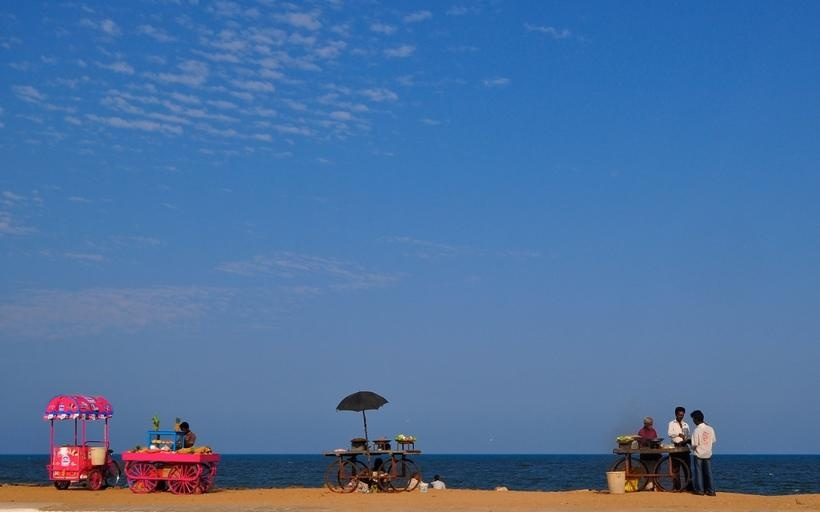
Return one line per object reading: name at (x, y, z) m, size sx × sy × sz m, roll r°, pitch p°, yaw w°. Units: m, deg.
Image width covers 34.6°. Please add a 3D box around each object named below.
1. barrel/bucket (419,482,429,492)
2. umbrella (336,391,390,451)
barrel/bucket at (0.858, 13.935, 79.721) m, size 0.617 × 0.326 × 0.456 m, roll 0°, pitch -2°, yaw 1°
umbrella at (-2.803, 9.753, 79.747) m, size 3.176 × 2.670 × 2.937 m, roll -7°, pitch 3°, yaw -7°
